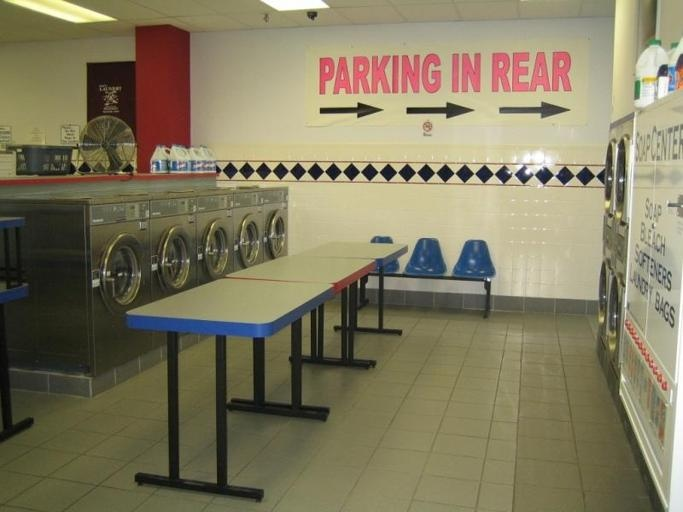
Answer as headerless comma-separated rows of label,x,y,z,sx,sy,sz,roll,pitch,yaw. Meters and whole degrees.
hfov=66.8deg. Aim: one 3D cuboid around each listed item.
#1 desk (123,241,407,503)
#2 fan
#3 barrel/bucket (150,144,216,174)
desk,-0.458,0.683,3.967,0.927,1.096,2.467,4,10,19
fan,-2.529,-1.162,5.644,0.517,0.607,0.318,11,-4,-12
barrel/bucket,-2.010,-1.216,6.776,0.350,0.442,1.179,0,3,15
